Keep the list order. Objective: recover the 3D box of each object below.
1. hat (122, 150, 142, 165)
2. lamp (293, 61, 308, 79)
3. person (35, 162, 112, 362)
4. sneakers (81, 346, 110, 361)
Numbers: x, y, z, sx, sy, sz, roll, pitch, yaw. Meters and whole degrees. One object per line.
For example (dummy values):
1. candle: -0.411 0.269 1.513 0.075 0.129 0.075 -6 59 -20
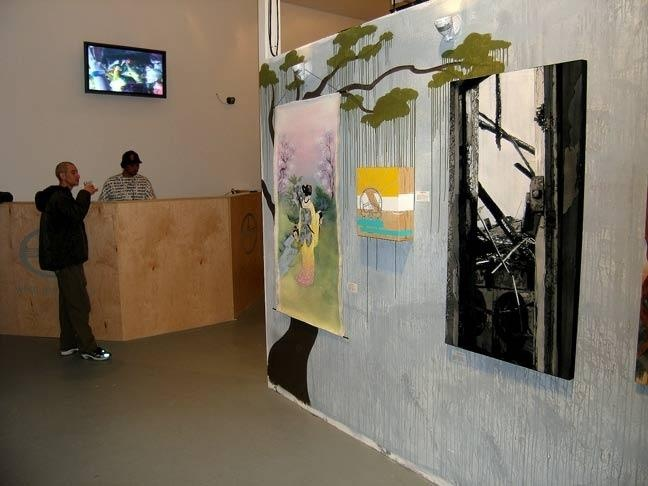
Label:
1. hat: -2.109 -0.950 5.672 0.207 0.169 0.181 10 15 22
2. lamp: -0.153 -1.206 3.603 0.070 0.119 0.030 4 11 34
3. person: -2.271 0.162 4.695 0.508 1.739 0.630 -7 13 -31
4. sneakers: -2.059 1.004 4.710 0.204 0.113 0.125 -5 3 4
